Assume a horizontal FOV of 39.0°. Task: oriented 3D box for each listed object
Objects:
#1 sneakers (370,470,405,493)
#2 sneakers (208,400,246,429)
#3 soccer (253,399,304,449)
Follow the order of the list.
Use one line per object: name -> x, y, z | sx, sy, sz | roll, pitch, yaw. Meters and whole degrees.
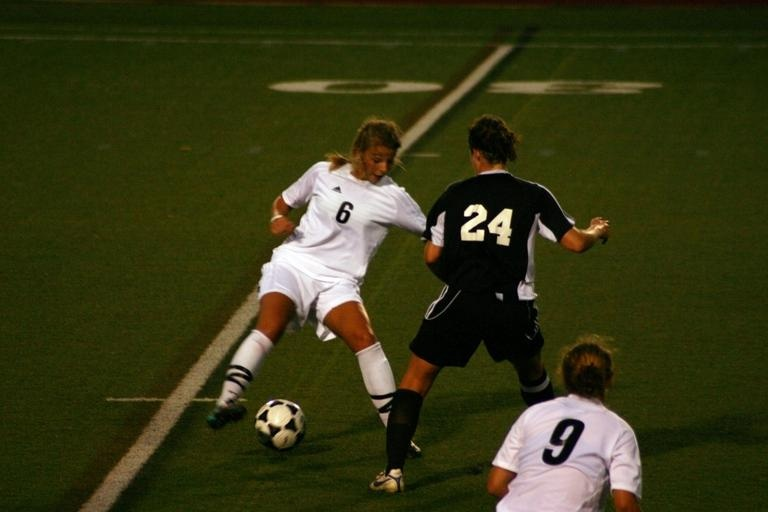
sneakers -> 0.034, 1.703, 8.217 | 0.334, 0.139, 0.119 | 2, 5, 25
sneakers -> -1.198, 1.227, 8.339 | 0.295, 0.112, 0.181 | -22, 49, -30
soccer -> -0.834, 1.319, 8.685 | 0.421, 0.353, 0.382 | -3, -17, -26
